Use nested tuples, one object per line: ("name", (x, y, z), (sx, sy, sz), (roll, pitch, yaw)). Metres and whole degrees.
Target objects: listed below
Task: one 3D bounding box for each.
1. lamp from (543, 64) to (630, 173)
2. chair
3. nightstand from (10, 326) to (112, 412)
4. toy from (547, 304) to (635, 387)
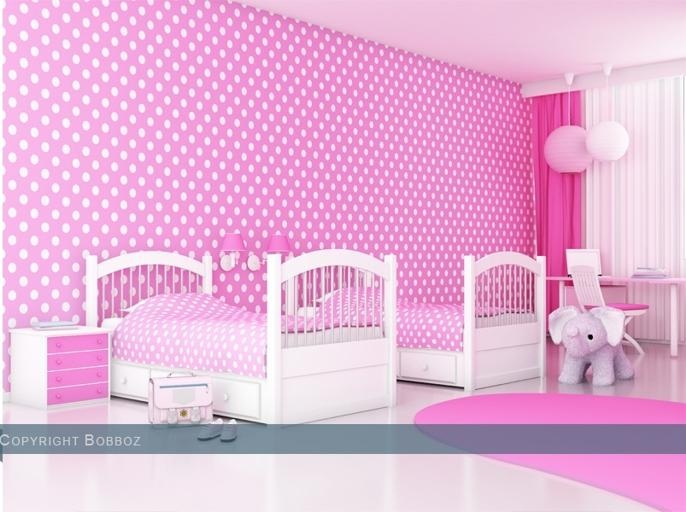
("lamp", (3.119, -1.735, 7.632), (1.073, 1.480, 0.594), (1, 2, 29))
("chair", (3.021, 0.597, 6.764), (0.678, 1.034, 0.563), (-3, -1, 3))
("nightstand", (-2.091, 0.852, 4.534), (0.422, 0.551, 0.560), (-4, -6, 31))
("toy", (2.232, 0.785, 5.456), (0.578, 0.710, 0.789), (-3, 1, 35))
